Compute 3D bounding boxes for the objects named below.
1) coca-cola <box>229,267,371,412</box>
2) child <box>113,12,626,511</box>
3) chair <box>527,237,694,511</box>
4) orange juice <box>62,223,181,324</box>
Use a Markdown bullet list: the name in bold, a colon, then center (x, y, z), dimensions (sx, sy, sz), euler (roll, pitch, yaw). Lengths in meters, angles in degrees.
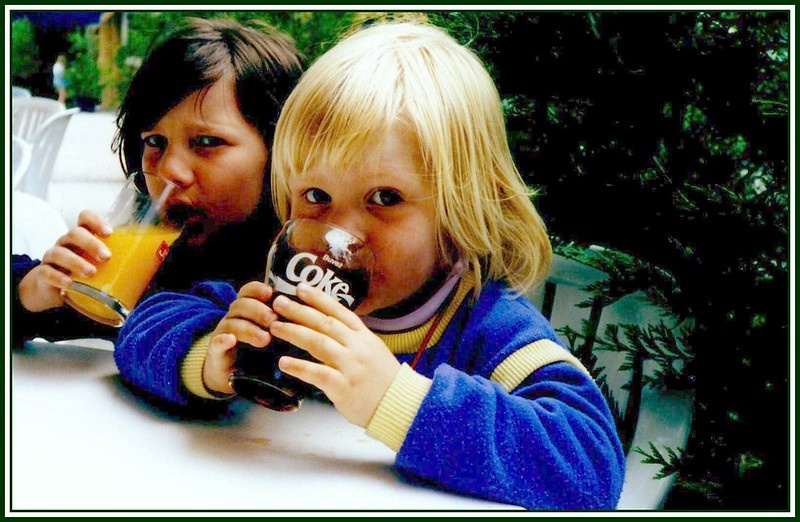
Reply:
- **coca-cola**: center (-0.187, 0.145, 1.359), dimensions (0.193, 0.273, 0.176), euler (12, -32, 19)
- **child**: center (-0.027, -0.041, 1.666), dimensions (1.274, 0.862, 0.704), euler (10, 12, 36)
- **chair**: center (0.479, 0.357, 1.564), dimensions (0.226, 0.277, 0.226), euler (-21, 17, 34)
- **orange juice**: center (-0.592, 0.020, 1.532), dimensions (0.134, 0.195, 0.128), euler (28, -11, 27)
